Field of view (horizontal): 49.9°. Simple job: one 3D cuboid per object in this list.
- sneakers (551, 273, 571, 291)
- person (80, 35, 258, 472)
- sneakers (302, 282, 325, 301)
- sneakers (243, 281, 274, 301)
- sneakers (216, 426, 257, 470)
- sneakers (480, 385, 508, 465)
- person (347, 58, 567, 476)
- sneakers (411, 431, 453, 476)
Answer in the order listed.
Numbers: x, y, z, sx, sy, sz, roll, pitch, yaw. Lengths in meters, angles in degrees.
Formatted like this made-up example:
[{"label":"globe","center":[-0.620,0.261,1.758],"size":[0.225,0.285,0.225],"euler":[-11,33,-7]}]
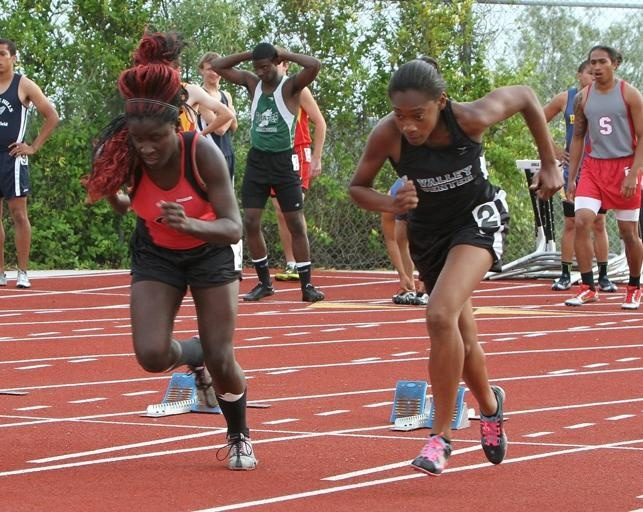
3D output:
[{"label":"sneakers","center":[3.392,0.393,9.741],"size":[0.144,0.167,0.389],"euler":[-2,-3,31]},{"label":"person","center":[-0.625,-0.028,3.045],"size":[0.684,1.875,0.890],"euler":[-1,2,-31]},{"label":"sneakers","center":[-0.112,0.466,8.394],"size":[0.149,0.149,0.316],"euler":[-5,-6,-25]},{"label":"sneakers","center":[-0.743,0.444,8.425],"size":[0.426,0.171,0.156],"euler":[-9,9,-42]},{"label":"sneakers","center":[-0.374,0.835,3.015],"size":[0.175,0.143,0.318],"euler":[-1,2,-8]},{"label":"sneakers","center":[0.708,0.728,2.962],"size":[0.121,0.330,0.138],"euler":[-6,-12,22]},{"label":"person","center":[0.506,-0.001,3.050],"size":[0.652,1.785,0.960],"euler":[1,3,40]},{"label":"sneakers","center":[0.435,0.766,2.693],"size":[0.085,0.093,0.244],"euler":[23,6,13]}]
